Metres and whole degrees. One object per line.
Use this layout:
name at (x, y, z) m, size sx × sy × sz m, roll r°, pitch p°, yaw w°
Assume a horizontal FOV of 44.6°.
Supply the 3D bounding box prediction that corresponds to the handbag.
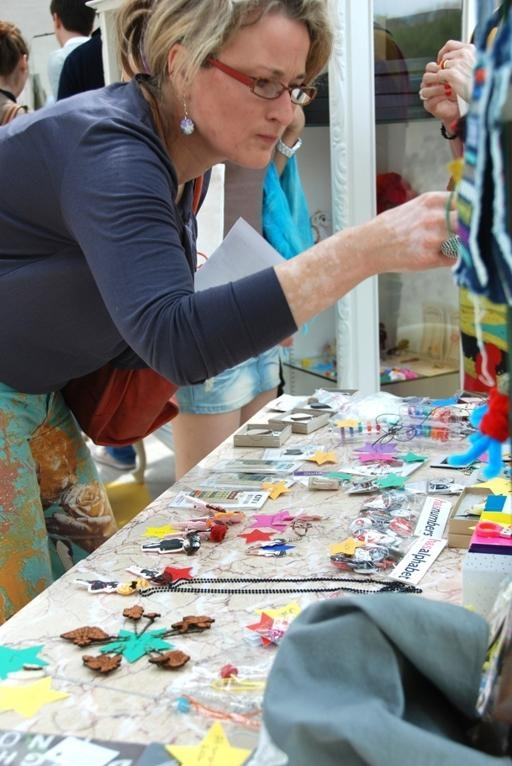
handbag at (-0.270, 0.037, 1.202) m, size 0.192 × 0.103 × 0.212 m, roll 19°, pitch 14°, yaw 21°

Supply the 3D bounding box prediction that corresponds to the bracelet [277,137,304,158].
bracelet at (0.118, -0.781, 2.056) m, size 0.054 × 0.028 × 0.069 m, roll 4°, pitch 59°, yaw 21°

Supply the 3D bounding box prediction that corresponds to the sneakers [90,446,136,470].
sneakers at (-0.751, 0.390, 3.333) m, size 0.116 × 0.121 × 0.288 m, roll -7°, pitch 17°, yaw -44°
